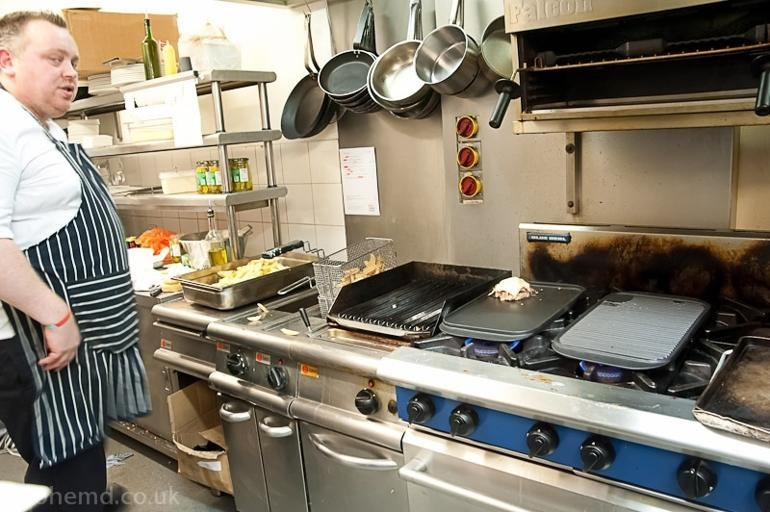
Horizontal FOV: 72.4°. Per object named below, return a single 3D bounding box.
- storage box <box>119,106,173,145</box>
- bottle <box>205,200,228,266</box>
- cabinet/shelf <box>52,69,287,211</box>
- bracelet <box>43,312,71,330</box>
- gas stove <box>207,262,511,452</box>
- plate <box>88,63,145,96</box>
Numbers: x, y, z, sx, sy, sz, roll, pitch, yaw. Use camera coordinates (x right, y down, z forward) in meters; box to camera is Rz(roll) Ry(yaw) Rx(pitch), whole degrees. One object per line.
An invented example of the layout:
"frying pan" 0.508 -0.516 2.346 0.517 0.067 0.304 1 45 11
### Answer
"storage box" -1.418 -0.796 3.240 0.355 0.250 0.125 -1 6 26
"bottle" -0.970 -0.116 3.031 0.114 0.325 0.443 -6 14 -19
"cabinet/shelf" -1.194 -0.697 3.075 1.100 0.670 0.348 5 16 37
"bracelet" -1.179 0.231 1.905 0.057 0.018 0.056 -13 19 -2
"gas stove" 0.051 0.335 2.359 1.296 0.410 1.250 -14 11 -33
"plate" -1.681 -1.128 3.388 0.303 0.066 0.289 -12 10 -6
